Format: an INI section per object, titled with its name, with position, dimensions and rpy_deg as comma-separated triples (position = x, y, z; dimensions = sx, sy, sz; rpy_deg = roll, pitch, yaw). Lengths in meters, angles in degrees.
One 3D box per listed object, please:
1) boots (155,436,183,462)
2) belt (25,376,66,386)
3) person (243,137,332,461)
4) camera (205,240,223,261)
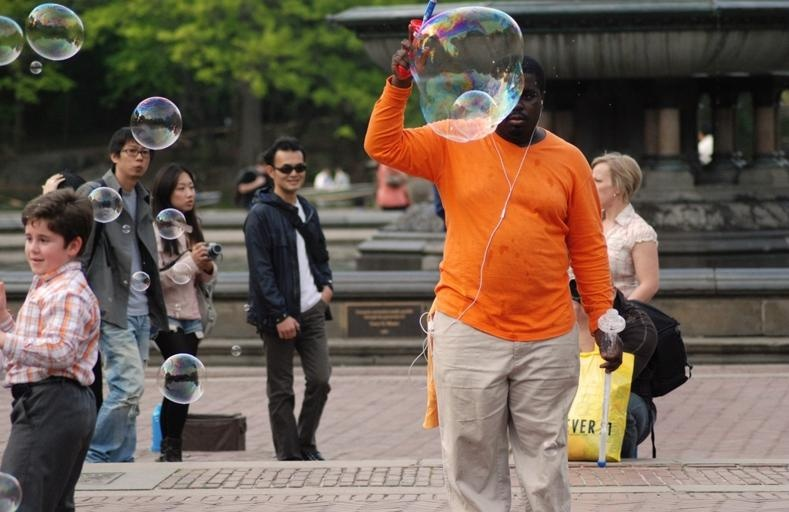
[boots]
position = -2.145, 1.855, 13.701
dimensions = 0.189, 0.254, 0.259
rpy_deg = 2, -10, -16
[belt]
position = -2.867, 1.038, 11.847
dimensions = 0.368, 0.091, 0.044
rpy_deg = -2, 7, -4
[person]
position = -0.976, 0.406, 13.839
dimensions = 0.828, 3.076, 0.791
rpy_deg = -5, 8, -31
[camera]
position = -1.735, -0.065, 13.899
dimensions = 0.157, 0.150, 0.158
rpy_deg = 2, -10, -31
